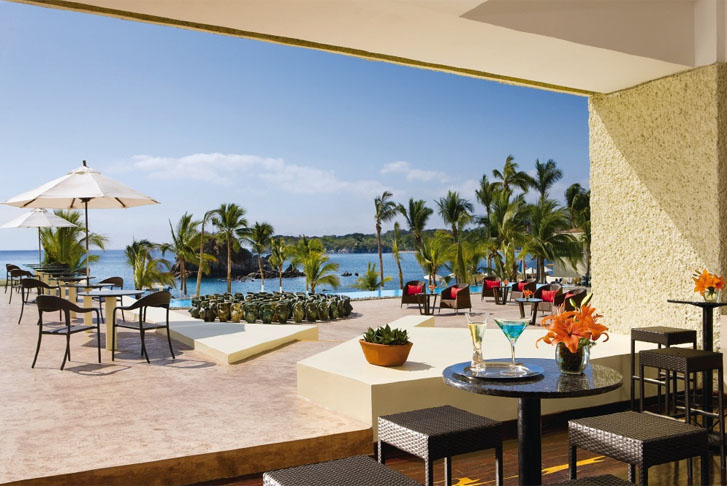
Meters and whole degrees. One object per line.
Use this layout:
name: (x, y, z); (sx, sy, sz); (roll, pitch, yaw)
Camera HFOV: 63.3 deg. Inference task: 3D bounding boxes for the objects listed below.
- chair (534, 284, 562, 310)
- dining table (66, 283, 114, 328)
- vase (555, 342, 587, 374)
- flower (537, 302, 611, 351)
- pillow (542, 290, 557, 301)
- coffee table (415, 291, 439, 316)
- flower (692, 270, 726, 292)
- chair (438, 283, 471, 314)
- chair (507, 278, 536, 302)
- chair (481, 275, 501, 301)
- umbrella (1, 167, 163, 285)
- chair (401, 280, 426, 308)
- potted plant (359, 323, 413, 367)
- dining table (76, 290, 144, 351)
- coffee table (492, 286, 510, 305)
chair: (4.365, 1.246, 13.908); (0.600, 0.827, 0.669); (-3, -8, 42)
dining table: (-4.488, 1.011, 9.603); (0.904, 0.636, 0.886); (0, 0, 11)
vase: (1.602, 0.872, 4.551); (0.253, 0.245, 0.249); (0, 2, 33)
flower: (1.628, 0.659, 4.592); (0.444, 0.340, 0.437); (0, -7, 16)
pillow: (4.400, 1.202, 13.991); (0.087, 0.284, 0.277); (16, 4, -25)
coffee table: (1.643, 1.574, 15.490); (0.599, 0.512, 0.584); (0, -2, -28)
flower: (4.026, 0.465, 6.873); (0.276, 0.307, 0.579); (-3, -8, 33)
chair: (2.328, 1.375, 14.736); (0.736, 0.722, 0.742); (-6, -10, 43)
chair: (4.427, 1.318, 16.622); (0.625, 0.618, 0.647); (2, -3, -18)
chair: (3.881, 1.354, 18.058); (0.747, 0.951, 0.698); (0, -8, 8)
umbrella: (-4.443, -0.494, 9.579); (2.199, 1.824, 2.230); (0, 0, 20)
chair: (1.319, 1.334, 15.965); (0.596, 0.824, 0.733); (0, -8, 10)
potted plant: (0.214, 1.103, 6.479); (0.445, 0.335, 0.477); (2, -7, -16)
dining table: (-4.042, 1.244, 9.315); (0.917, 0.872, 0.892); (0, -1, -40)
coffee table: (4.139, 1.569, 17.798); (0.542, 0.516, 0.540); (0, -4, -7)
